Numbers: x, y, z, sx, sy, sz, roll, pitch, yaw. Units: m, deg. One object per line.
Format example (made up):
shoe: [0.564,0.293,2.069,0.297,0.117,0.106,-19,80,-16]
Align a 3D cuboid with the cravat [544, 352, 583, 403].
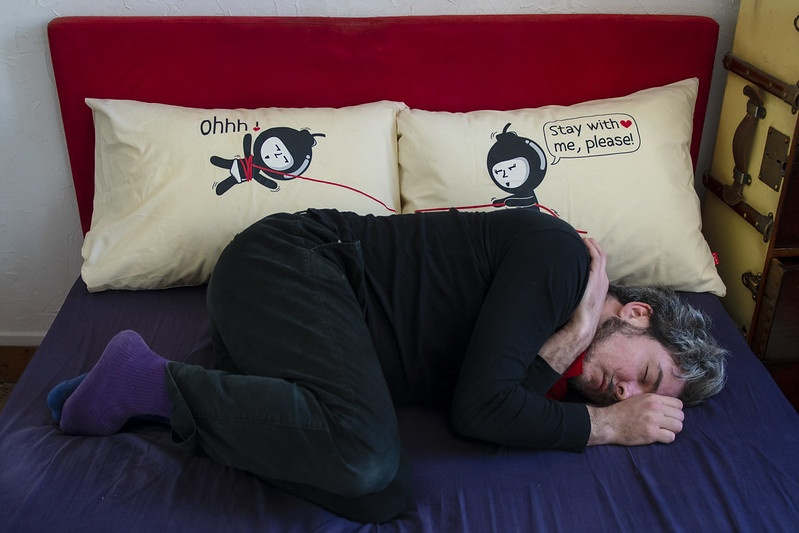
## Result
cravat: [0.516,0.328,1.888,0.068,0.134,0.135,28,19,-5]

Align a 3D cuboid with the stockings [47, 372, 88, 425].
stockings: [-0.973,0.375,1.769,0.133,0.136,0.052,30,1,-41]

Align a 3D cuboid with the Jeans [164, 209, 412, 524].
Jeans: [-0.271,0.260,1.749,0.678,0.641,0.575,6,26,11]

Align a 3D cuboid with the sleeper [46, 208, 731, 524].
sleeper: [0.141,0.244,1.918,1.784,0.878,0.921,5,29,-9]

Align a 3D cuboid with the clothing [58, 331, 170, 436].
clothing: [-0.838,0.368,1.751,0.389,0.152,0.264,5,53,6]
